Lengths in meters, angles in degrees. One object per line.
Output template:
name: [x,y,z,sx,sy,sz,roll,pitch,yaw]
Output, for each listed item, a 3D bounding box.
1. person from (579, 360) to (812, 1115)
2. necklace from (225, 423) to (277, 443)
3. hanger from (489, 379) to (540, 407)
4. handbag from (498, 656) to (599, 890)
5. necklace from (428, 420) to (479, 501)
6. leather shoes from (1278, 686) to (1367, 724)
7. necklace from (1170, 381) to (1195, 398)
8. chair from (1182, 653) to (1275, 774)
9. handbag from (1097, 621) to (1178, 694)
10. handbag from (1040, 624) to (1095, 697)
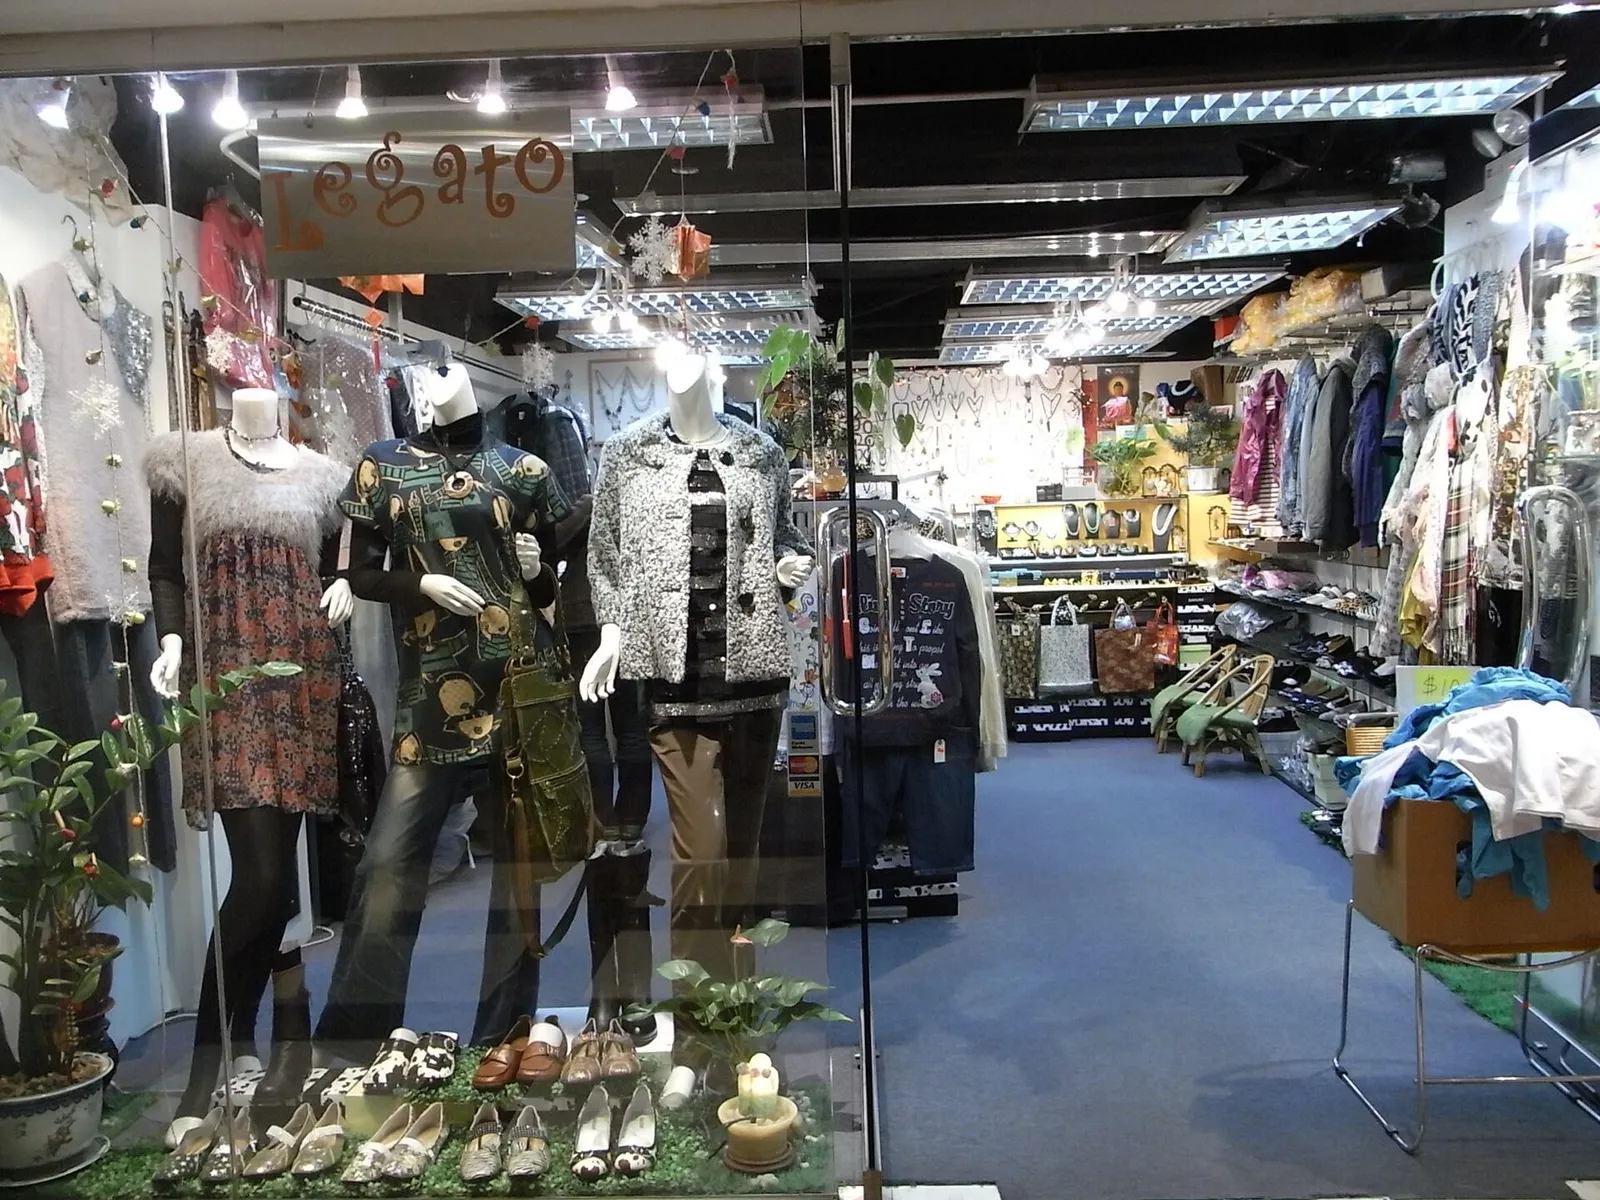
person: [-0.314,0.167,3.329,0.601,1.769,0.263,0,7,10]
necklace: [-1.572,-0.481,3.347,0.147,0.051,0.024,0,7,13]
hanger: [-0.800,-0.589,3.296,0.117,0.075,0.044,1,9,10]
handbag: [-0.736,0.497,3.391,0.242,0.597,0.173,-9,-1,-27]
necklace: [-0.979,-0.414,3.308,0.130,0.186,0.094,0,9,5]
leather shoes: [3.278,0.676,7.392,0.173,0.213,0.519,-3,5,-1]
necklace: [3.242,-1.798,9.885,0.140,0.146,0.033,2,-25,20]
chair: [2.892,0.725,7.940,0.523,0.771,0.595,2,6,4]
handbag: [2.648,0.444,9.229,0.526,0.529,0.191,-1,9,-1]
handbag: [2.075,0.466,9.179,0.518,0.734,0.233,-1,10,0]
